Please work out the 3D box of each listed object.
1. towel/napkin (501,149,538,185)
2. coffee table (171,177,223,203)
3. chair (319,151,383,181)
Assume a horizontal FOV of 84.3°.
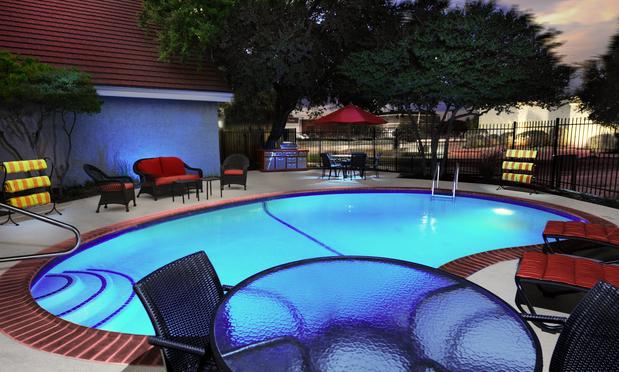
[{"bbox_3d":[7.357,-0.661,12.046,1.004,1.298,1.079,-7,10,-34],"label":"towel/napkin"},{"bbox_3d":[-3.786,0.023,11.780,0.921,0.841,1.885,9,10,34],"label":"coffee table"},{"bbox_3d":[1.750,-1.004,15.871,2.350,1.186,2.830,-1,7,1],"label":"chair"}]
